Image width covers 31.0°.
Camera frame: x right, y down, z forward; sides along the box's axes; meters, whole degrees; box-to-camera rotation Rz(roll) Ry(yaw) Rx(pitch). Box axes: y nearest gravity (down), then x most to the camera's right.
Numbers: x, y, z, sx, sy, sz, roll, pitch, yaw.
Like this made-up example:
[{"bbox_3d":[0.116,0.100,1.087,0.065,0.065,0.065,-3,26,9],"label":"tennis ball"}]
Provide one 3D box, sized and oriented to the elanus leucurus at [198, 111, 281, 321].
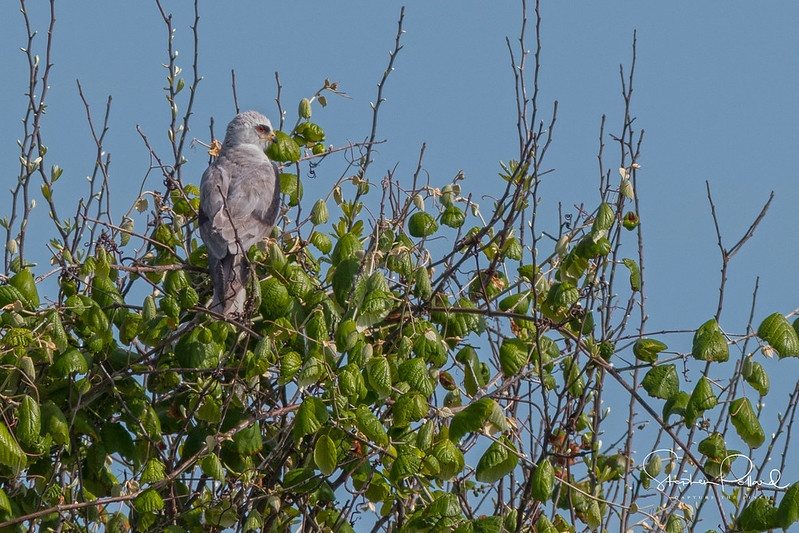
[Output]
[{"bbox_3d":[-1.150,-0.338,9.958,0.518,1.289,1.874,4,15,-1],"label":"elanus leucurus"}]
